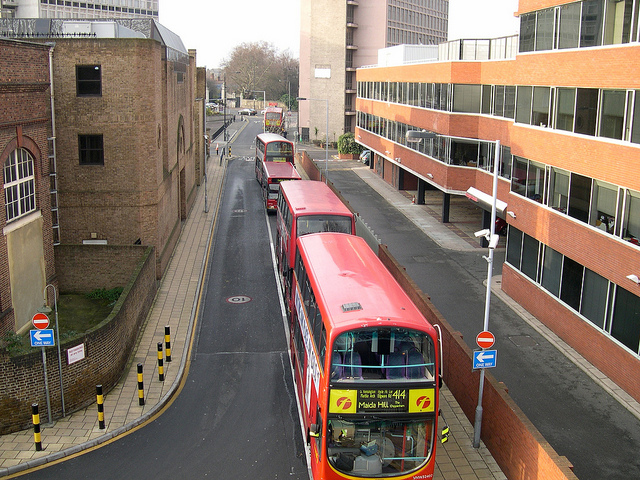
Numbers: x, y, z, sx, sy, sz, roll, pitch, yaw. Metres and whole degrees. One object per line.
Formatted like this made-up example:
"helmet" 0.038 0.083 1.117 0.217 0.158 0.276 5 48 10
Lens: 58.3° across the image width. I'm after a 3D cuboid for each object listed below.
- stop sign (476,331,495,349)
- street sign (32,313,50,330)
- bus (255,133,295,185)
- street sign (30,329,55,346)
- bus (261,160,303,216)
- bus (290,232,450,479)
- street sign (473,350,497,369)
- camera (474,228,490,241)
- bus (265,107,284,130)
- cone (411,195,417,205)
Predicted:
"stop sign" 5.018 3.128 17.413 0.492 0.617 0.347 -1 15 -1
"street sign" -8.458 2.504 17.391 0.374 0.489 0.417 3 16 14
"bus" -4.279 -6.930 54.280 3.231 6.055 3.619 -2 13 -19
"street sign" -8.359 2.971 17.260 0.544 0.524 0.007 1 15 -12
"bus" -3.459 -4.576 46.578 1.952 2.339 7.798 -2 23 -7
"bus" 1.161 2.879 18.312 2.680 4.050 8.460 -1 16 -4
"street sign" 4.952 3.625 17.289 0.748 0.665 0.043 -2 17 -8
"camera" 7.876 -0.227 27.936 0.596 0.260 0.623 9 17 38
"bus" -7.826 -21.132 97.719 1.710 2.512 4.766 0 24 -2
"cone" 8.066 -3.426 48.819 0.529 0.957 0.609 0 13 -6
